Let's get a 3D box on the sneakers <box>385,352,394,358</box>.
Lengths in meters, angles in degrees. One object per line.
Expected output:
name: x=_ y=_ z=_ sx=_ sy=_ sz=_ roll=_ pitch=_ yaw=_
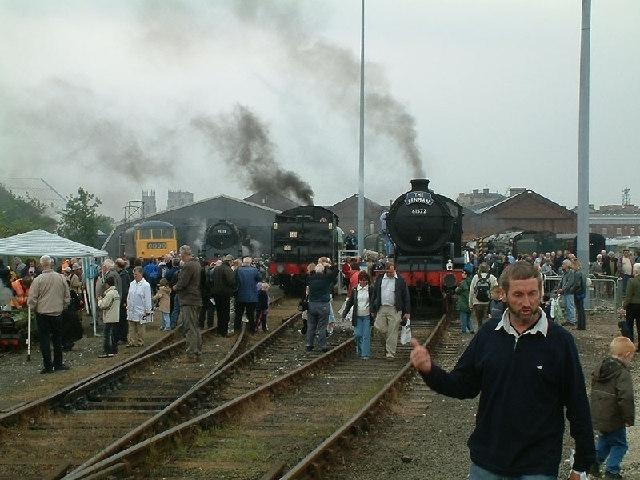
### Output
sneakers: x=1.453 y=2.372 z=14.699 sx=0.148 sy=0.114 sz=0.274 roll=0 pitch=-4 yaw=3

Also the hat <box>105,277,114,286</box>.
hat: x=-4.529 y=0.890 z=15.307 sx=0.133 sy=0.188 sz=0.175 roll=1 pitch=-13 yaw=-15

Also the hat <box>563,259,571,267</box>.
hat: x=6.349 y=0.590 z=18.261 sx=0.229 sy=0.243 sz=0.198 roll=-1 pitch=1 yaw=4

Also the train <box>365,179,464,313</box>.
train: x=2.851 y=0.161 z=21.894 sx=2.014 sy=3.139 sz=6.085 roll=0 pitch=4 yaw=6

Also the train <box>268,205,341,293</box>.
train: x=-0.753 y=0.119 z=31.002 sx=1.679 sy=2.625 sz=5.052 roll=1 pitch=3 yaw=6

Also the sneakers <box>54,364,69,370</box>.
sneakers: x=-4.996 y=2.450 z=13.814 sx=0.098 sy=0.145 sz=0.302 roll=2 pitch=1 yaw=43

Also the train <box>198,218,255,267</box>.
train: x=-4.763 y=0.164 z=37.996 sx=1.798 sy=2.127 sz=6.009 roll=0 pitch=-4 yaw=-1

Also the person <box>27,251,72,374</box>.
person: x=-5.049 y=1.395 z=13.343 sx=0.644 sy=2.222 sz=0.810 roll=0 pitch=-3 yaw=-4
